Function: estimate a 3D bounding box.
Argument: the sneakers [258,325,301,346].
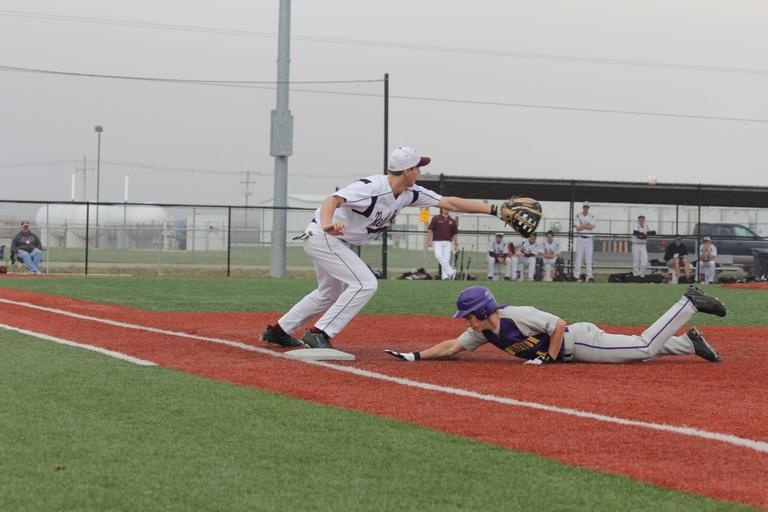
[{"bbox_3d":[-1.279,0.972,15.991,0.533,0.202,0.174,17,12,-14],"label":"sneakers"}]

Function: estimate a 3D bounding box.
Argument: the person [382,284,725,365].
[{"bbox_3d":[1.959,0.840,15.613,3.827,0.747,0.806,-2,-18,3],"label":"person"}]

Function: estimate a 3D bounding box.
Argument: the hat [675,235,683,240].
[{"bbox_3d":[6.480,-0.418,30.114,0.174,0.131,0.167,-2,5,-40],"label":"hat"}]

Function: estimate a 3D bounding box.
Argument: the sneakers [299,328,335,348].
[{"bbox_3d":[-0.821,0.971,15.667,0.206,0.144,0.450,-24,-37,36],"label":"sneakers"}]

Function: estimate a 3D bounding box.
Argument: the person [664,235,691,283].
[{"bbox_3d":[6.229,0.067,29.101,0.541,0.963,1.833,2,0,11],"label":"person"}]

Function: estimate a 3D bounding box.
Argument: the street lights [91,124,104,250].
[{"bbox_3d":[-8.528,-2.144,40.040,0.459,3.739,0.352,-6,-12,23],"label":"street lights"}]

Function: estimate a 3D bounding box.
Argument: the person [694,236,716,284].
[{"bbox_3d":[6.978,0.078,29.649,0.381,0.974,1.720,2,0,12],"label":"person"}]

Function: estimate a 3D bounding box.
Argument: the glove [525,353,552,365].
[{"bbox_3d":[1.700,1.182,15.457,0.364,0.121,0.105,6,-6,2],"label":"glove"}]

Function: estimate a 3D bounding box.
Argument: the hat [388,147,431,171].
[{"bbox_3d":[0.223,-1.103,15.541,0.418,0.281,0.451,2,0,3],"label":"hat"}]

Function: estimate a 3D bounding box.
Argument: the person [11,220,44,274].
[{"bbox_3d":[-7.277,-0.173,27.389,0.689,0.945,0.591,-3,10,-4],"label":"person"}]

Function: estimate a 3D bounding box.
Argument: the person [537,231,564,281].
[{"bbox_3d":[3.435,-0.010,28.602,0.412,1.037,0.783,2,0,7],"label":"person"}]

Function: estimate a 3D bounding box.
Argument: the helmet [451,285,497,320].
[{"bbox_3d":[0.951,0.532,15.296,0.574,0.332,0.383,-16,19,-16],"label":"helmet"}]
